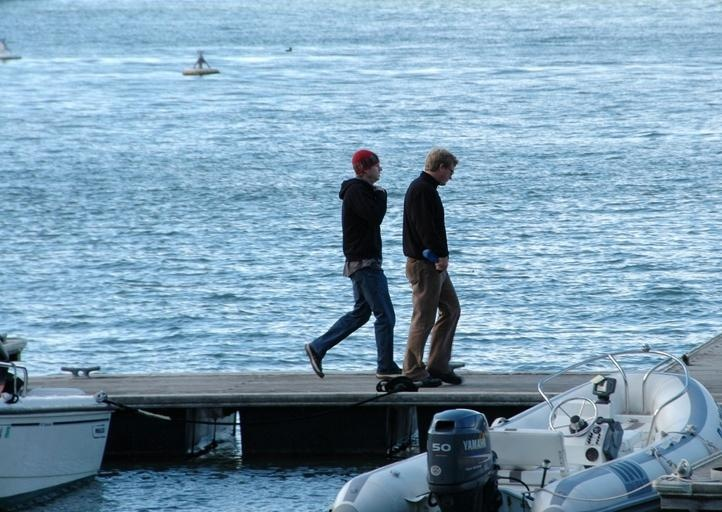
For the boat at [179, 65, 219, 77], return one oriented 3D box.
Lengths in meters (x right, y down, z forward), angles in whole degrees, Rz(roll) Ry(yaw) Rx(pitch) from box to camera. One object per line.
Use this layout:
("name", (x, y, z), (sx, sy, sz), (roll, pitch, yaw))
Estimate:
("boat", (-9.327, -10.770, 105.534), (1.825, 0.443, 2.697), (1, 10, 13))
